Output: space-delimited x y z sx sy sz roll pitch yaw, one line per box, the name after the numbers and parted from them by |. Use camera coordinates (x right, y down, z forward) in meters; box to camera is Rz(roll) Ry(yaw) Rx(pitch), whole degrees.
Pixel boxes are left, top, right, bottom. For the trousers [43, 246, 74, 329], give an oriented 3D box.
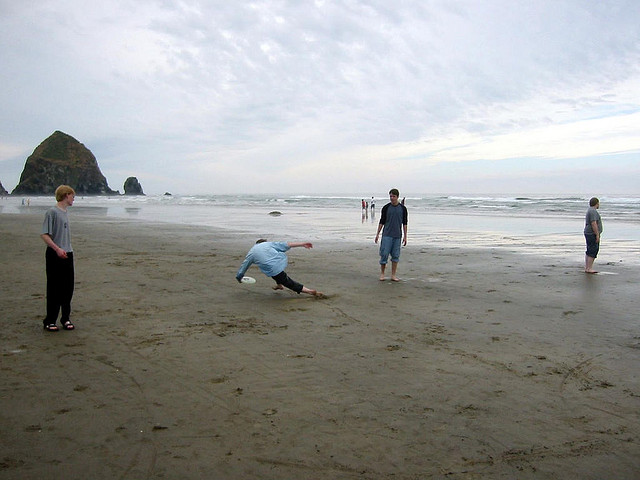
-3.758 0.689 6.276 0.446 1.222 0.272 -6 15 -30 | trousers

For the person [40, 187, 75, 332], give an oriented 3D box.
-3.760 0.289 6.274 0.558 2.081 0.611 -5 15 -29 | person

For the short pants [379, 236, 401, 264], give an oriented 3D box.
1.566 0.243 9.767 0.421 0.669 0.235 3 13 5 | short pants

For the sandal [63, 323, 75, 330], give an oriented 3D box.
-3.663 1.285 6.362 0.233 0.051 0.087 -10 -13 43 | sandal

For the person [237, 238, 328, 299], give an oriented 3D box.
-0.770 0.473 8.229 2.152 0.833 0.845 5 8 25 | person

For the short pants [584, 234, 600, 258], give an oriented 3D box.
6.812 0.144 10.990 0.218 0.601 0.334 -3 13 -18 | short pants
